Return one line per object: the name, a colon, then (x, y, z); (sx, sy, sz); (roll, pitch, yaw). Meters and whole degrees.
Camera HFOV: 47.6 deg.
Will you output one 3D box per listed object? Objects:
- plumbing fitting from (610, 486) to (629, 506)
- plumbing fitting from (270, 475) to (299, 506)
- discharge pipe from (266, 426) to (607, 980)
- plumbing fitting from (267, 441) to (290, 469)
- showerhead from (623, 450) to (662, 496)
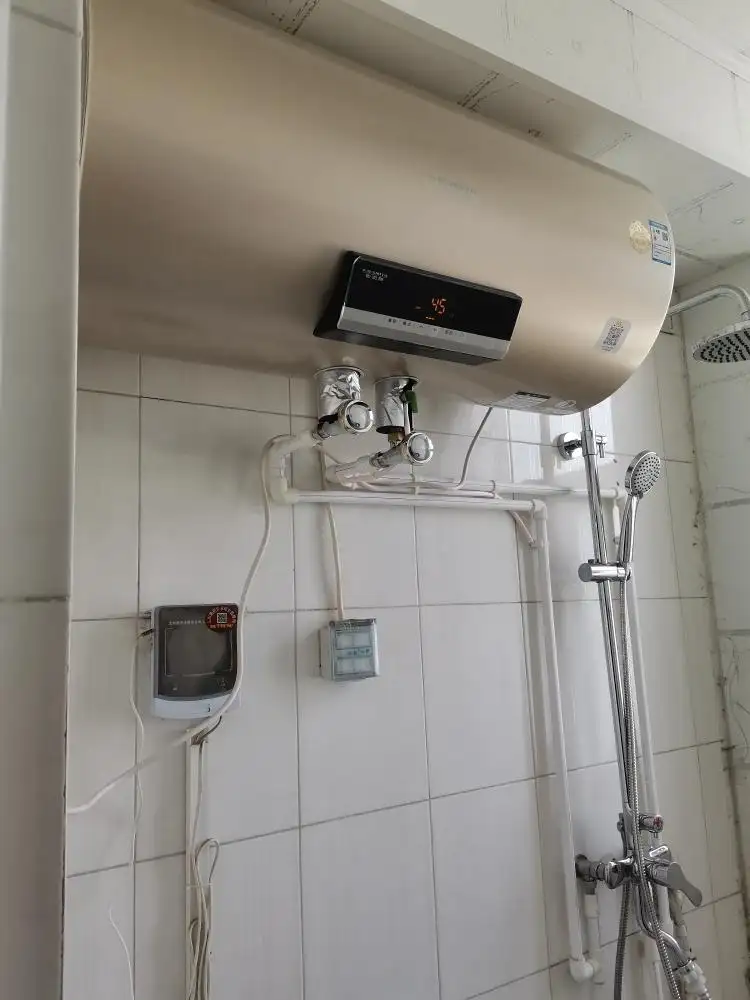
plumbing fitting: (0.509, -0.009, 1.778); (0.032, 0.050, 0.038); (-2, -7, 4)
plumbing fitting: (-0.136, -0.015, 1.268); (0.041, 0.037, 0.036); (-2, -6, -2)
discharge pipe: (0.159, 0.338, 1.423); (0.745, 1.013, 0.158); (3, -8, -40)
plumbing fitting: (-0.142, -0.070, 1.238); (0.025, 0.043, 0.059); (-1, -6, -13)
showerhead: (0.517, -0.055, 1.661); (0.080, 0.090, 0.017); (-19, 36, -26)
